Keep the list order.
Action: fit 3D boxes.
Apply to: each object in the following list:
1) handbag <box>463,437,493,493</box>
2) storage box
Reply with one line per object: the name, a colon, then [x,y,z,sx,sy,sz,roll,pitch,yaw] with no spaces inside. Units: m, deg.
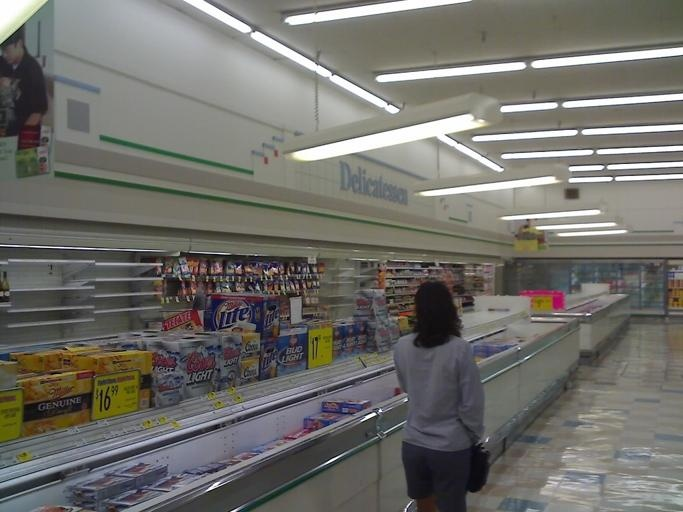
handbag: [0.804,1.239,2.721,0.165,0.270,0.073,1,-4,-2]
storage box: [-0.556,0.797,3.531,0.372,0.446,1.946,-2,-3,41]
